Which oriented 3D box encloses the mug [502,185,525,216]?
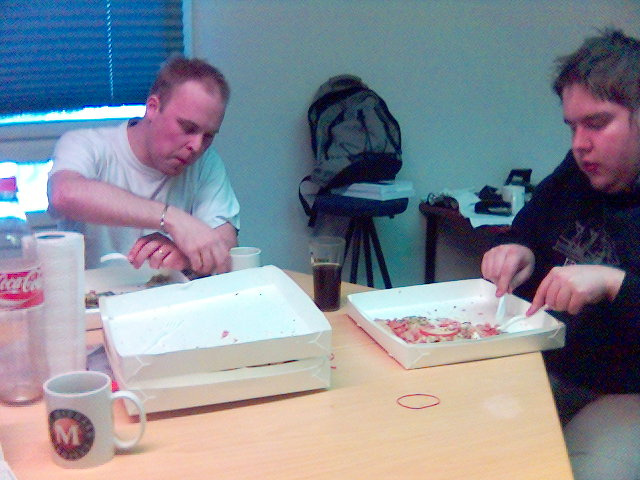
[{"bbox_3d":[1.109,-0.229,3.158,0.158,0.179,0.159,-1,2,8],"label":"mug"}]

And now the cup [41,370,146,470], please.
[{"bbox_3d":[-0.417,0.349,1.037,0.171,0.130,0.107,-1,-3,-16],"label":"cup"}]

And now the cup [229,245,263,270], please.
[{"bbox_3d":[-0.228,0.044,1.653,0.077,0.059,0.083,-1,6,0],"label":"cup"}]

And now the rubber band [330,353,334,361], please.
[{"bbox_3d":[0.027,0.286,1.332,0.008,0.012,0.013,-3,-4,-11],"label":"rubber band"}]

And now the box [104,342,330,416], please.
[{"bbox_3d":[-0.201,0.302,1.175,0.444,0.104,0.062,-6,9,-13],"label":"box"}]

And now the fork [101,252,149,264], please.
[{"bbox_3d":[-0.606,0.055,1.713,0.115,0.023,0.031,6,9,-17],"label":"fork"}]

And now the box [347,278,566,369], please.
[{"bbox_3d":[0.343,0.212,1.466,0.478,0.137,0.339,-6,8,-13],"label":"box"}]
